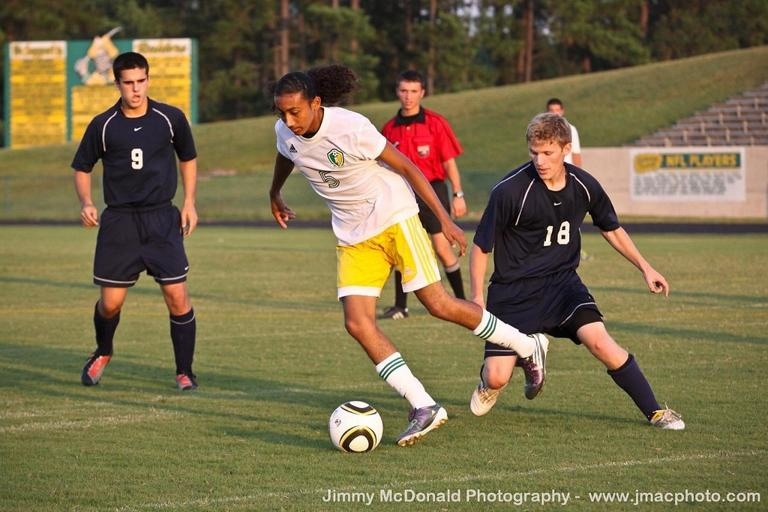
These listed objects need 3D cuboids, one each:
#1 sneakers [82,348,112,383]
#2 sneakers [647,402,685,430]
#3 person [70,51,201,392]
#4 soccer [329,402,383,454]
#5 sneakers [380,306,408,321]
[{"bbox_3d":[-3.242,1.244,14.557,0.182,0.497,0.218,17,-27,13],"label":"sneakers"},{"bbox_3d":[2.983,1.720,13.498,0.340,0.161,0.188,-1,1,23],"label":"sneakers"},{"bbox_3d":[-2.788,-0.406,14.398,1.334,3.725,0.785,-2,9,-7],"label":"person"},{"bbox_3d":[-0.279,1.718,13.311,0.531,0.503,0.501,-1,13,-1],"label":"soccer"},{"bbox_3d":[0.150,0.788,17.100,0.442,0.195,0.148,0,0,-18],"label":"sneakers"}]
